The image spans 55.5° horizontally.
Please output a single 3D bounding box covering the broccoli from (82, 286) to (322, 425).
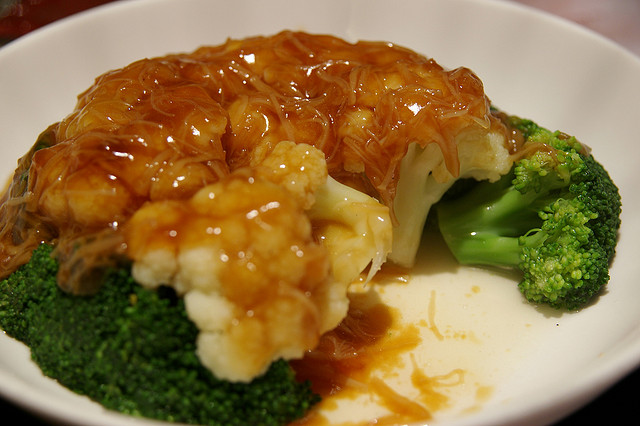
[{"bbox_3d":[-0.536,0.696,2.574,0.674,0.224,0.625,19,12,-30],"label":"broccoli"}]

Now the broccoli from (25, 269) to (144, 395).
[{"bbox_3d":[-0.990,0.457,2.712,0.409,0.455,0.743,-1,12,-12],"label":"broccoli"}]

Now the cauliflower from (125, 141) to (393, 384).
[{"bbox_3d":[-0.193,0.174,2.572,1.023,1.059,0.311,-32,-14,-21],"label":"cauliflower"}]
